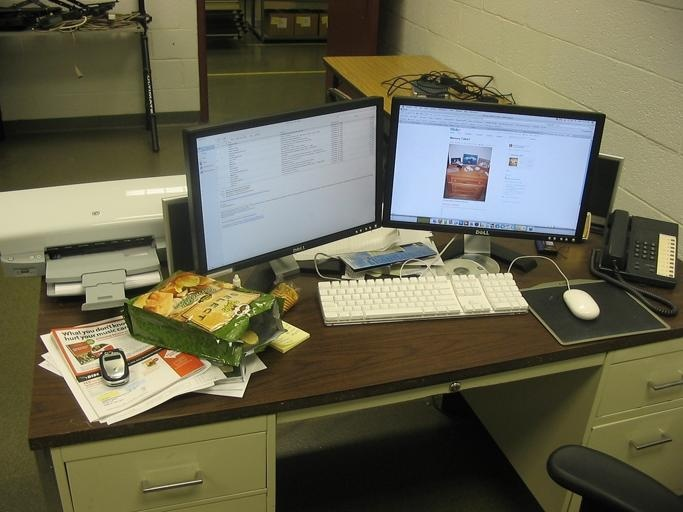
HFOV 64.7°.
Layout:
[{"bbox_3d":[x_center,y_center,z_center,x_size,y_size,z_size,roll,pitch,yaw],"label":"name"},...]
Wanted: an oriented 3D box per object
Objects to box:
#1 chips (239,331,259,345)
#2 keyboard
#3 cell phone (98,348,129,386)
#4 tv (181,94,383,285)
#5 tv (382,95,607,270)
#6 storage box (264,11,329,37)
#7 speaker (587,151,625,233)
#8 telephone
[{"bbox_3d":[-0.240,0.218,1.443,0.038,0.028,0.053,0,24,2],"label":"chips"},{"bbox_3d":[0.248,0.128,1.691,0.625,0.066,0.157,-3,41,-6],"label":"keyboard"},{"bbox_3d":[-0.578,0.283,1.374,0.069,0.058,0.100,-13,27,-24],"label":"cell phone"},{"bbox_3d":[-0.159,-0.174,1.635,0.621,0.498,0.059,-18,34,-37],"label":"tv"},{"bbox_3d":[0.480,-0.272,1.743,0.673,0.462,0.075,1,26,3],"label":"tv"},{"bbox_3d":[-0.669,-3.362,7.824,0.908,0.401,0.276,-4,25,-9],"label":"storage box"},{"bbox_3d":[0.904,-0.229,1.998,0.123,0.334,0.167,19,32,29],"label":"speaker"},{"bbox_3d":[0.976,-0.033,1.822,0.273,0.103,0.280,10,68,16],"label":"telephone"}]
